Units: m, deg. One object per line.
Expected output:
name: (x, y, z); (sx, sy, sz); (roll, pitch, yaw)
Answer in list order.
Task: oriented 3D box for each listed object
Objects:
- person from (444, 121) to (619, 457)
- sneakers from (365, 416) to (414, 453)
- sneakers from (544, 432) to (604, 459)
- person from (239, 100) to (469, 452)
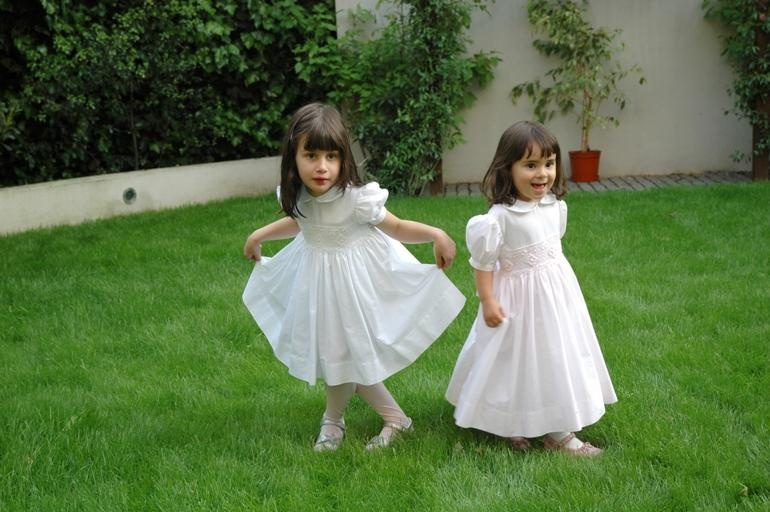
person: (0.766, 0.121, 3.831); (0.891, 1.659, 0.460); (-2, 11, 4)
sneakers: (0.025, 0.994, 3.965); (0.291, 0.121, 0.112); (-35, 9, -16)
sneakers: (1.013, 1.035, 3.813); (0.273, 0.112, 0.118); (4, 11, 23)
person: (-0.220, -0.072, 3.861); (1.253, 1.485, 0.418); (-1, 11, 5)
